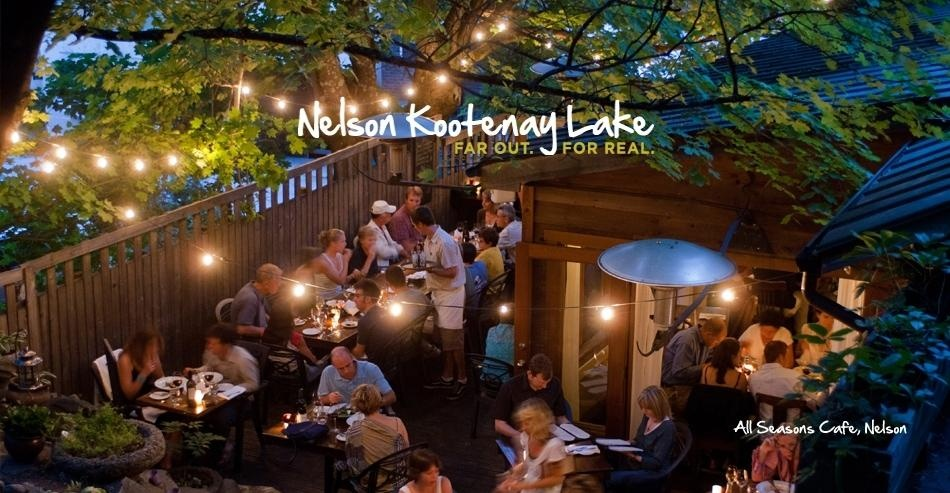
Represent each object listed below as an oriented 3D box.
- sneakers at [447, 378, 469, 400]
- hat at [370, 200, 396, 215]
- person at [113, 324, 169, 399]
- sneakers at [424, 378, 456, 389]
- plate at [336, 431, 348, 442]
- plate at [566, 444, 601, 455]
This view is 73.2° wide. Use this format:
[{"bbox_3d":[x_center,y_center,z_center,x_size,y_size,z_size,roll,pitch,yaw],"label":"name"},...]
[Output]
[{"bbox_3d":[-0.387,3.017,13.539,0.226,0.222,0.573,0,14,23],"label":"sneakers"},{"bbox_3d":[-2.226,-0.973,15.656,0.569,0.192,0.371,-4,11,-29],"label":"hat"},{"bbox_3d":[-5.977,2.236,11.508,0.963,1.429,0.895,8,13,8],"label":"person"},{"bbox_3d":[-0.761,2.933,13.604,0.712,0.217,0.239,1,-3,2],"label":"sneakers"},{"bbox_3d":[-2.176,3.087,10.320,0.153,0.125,0.277,7,-8,-5],"label":"plate"},{"bbox_3d":[1.680,3.192,10.033,0.508,0.144,0.286,5,-8,6],"label":"plate"}]
